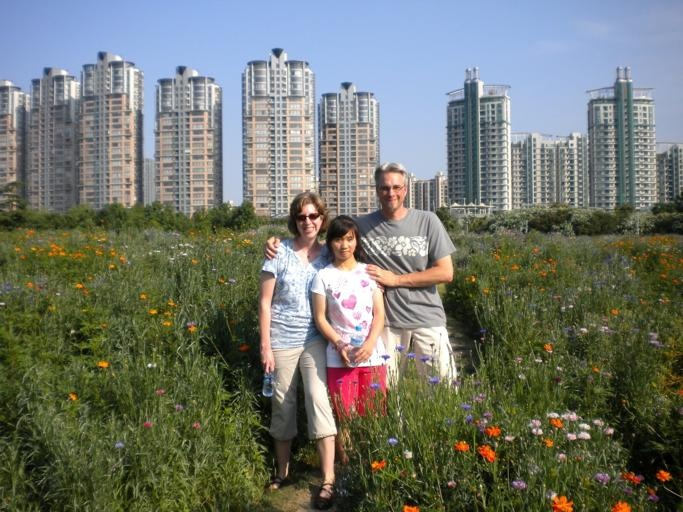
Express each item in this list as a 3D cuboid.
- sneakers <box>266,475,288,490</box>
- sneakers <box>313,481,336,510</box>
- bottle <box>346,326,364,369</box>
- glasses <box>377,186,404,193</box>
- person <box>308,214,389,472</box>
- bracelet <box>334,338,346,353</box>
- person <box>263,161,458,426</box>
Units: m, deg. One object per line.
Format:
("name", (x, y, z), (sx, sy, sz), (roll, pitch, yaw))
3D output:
("sneakers", (-0.635, 2.234, 6.417), (0.087, 0.075, 0.237), (14, 16, 34))
("sneakers", (-0.156, 2.253, 6.063), (0.199, 0.227, 0.130), (-1, 10, -5))
("bottle", (0.140, 0.881, 6.346), (0.180, 0.326, 0.071), (4, -4, -27))
("glasses", (0.509, -0.704, 6.715), (0.254, 0.071, 0.069), (1, 11, 4))
("person", (0.073, 0.603, 6.339), (0.812, 1.903, 0.792), (4, 11, 21))
("bracelet", (-0.017, 0.862, 6.266), (0.092, 0.068, 0.098), (-3, 5, -29))
("person", (0.598, 0.524, 6.988), (1.114, 3.135, 0.885), (-3, 15, 17))
